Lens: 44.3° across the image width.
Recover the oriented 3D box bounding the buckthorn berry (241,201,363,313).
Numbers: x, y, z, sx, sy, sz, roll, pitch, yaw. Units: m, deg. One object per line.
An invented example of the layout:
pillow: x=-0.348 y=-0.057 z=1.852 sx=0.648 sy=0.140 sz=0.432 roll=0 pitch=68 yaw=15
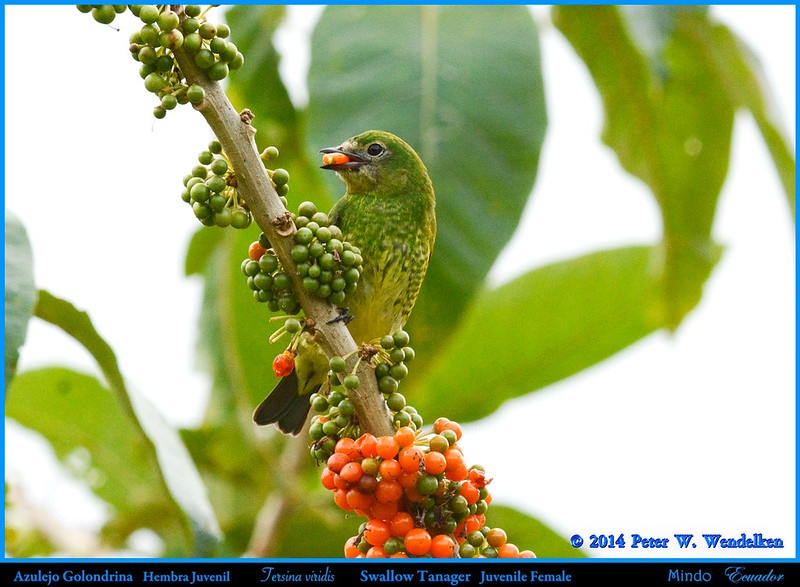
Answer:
buckthorn berry: x=-0.312 y=-0.047 z=2.994 sx=0.289 sy=0.228 sz=0.378 roll=17 pitch=-40 yaw=-22

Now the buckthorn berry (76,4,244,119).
buckthorn berry: x=-0.702 y=-0.733 z=2.894 sx=0.432 sy=0.349 sz=0.267 roll=-4 pitch=-37 yaw=9

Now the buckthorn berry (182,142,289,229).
buckthorn berry: x=-0.534 y=-0.313 z=2.949 sx=0.162 sy=0.246 sz=0.202 roll=-19 pitch=-41 yaw=27
